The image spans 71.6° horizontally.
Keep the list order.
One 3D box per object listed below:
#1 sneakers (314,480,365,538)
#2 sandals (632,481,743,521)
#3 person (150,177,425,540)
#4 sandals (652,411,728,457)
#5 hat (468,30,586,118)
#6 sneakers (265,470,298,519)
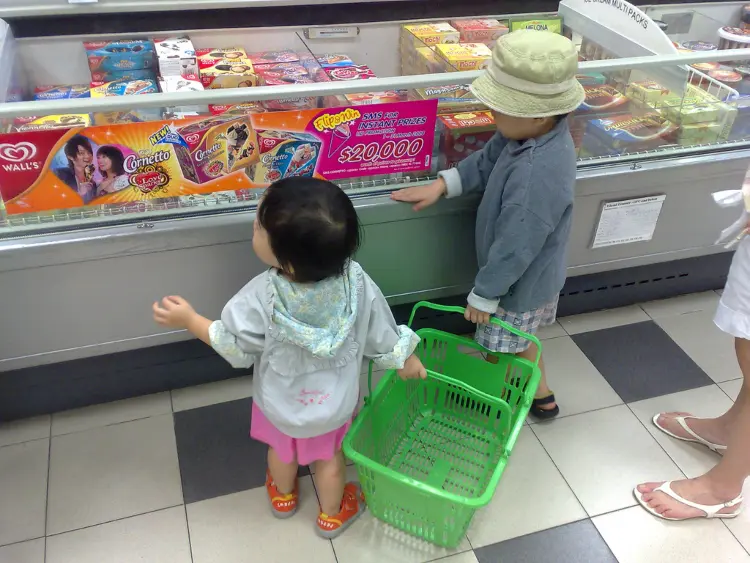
[{"bbox_3d":[-0.120,0.874,2.002,0.115,0.091,0.215,21,48,28],"label":"sneakers"},{"bbox_3d":[1.211,0.881,2.071,0.382,0.102,0.154,1,52,8],"label":"sandals"},{"bbox_3d":[-0.204,0.306,1.712,0.782,1.274,0.519,-13,43,-12],"label":"person"},{"bbox_3d":[1.347,0.651,2.252,0.282,0.067,0.109,27,62,36],"label":"sandals"},{"bbox_3d":[0.484,-0.659,1.623,0.291,0.156,0.300,30,53,31],"label":"hat"},{"bbox_3d":[-0.357,0.826,2.026,0.088,0.074,0.169,0,42,-11],"label":"sneakers"}]
